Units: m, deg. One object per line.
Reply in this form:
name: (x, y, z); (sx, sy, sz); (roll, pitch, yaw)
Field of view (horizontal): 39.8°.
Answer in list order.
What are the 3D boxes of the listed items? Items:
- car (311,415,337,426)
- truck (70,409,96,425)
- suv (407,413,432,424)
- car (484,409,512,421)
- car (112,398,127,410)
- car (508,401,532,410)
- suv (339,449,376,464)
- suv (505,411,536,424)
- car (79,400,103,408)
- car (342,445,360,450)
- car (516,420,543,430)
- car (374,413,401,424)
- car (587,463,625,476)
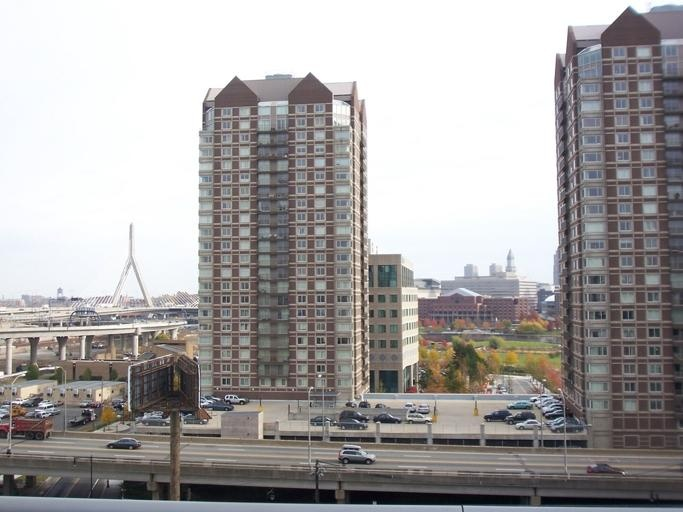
car: (-3.258, 28.949, 163.784); (3.351, 1.034, 2.183); (-2, -2, 13)
truck: (-47.226, 30.044, 174.301); (2.332, 1.710, 3.559); (3, 7, 17)
suv: (13.337, 28.593, 164.552); (3.980, 1.402, 1.810); (-3, -1, 6)
car: (27.343, 28.329, 166.826); (3.555, 1.290, 2.050); (1, -6, 5)
car: (-43.099, 29.224, 183.886); (1.647, 0.663, 2.434); (4, 19, 1)
car: (33.041, 27.818, 174.780); (3.260, 1.095, 1.778); (1, -7, 4)
suv: (2.451, 31.064, 144.959); (4.598, 1.631, 2.216); (-2, -4, 6)
suv: (30.977, 28.289, 164.449); (4.631, 1.826, 2.075); (0, -5, 0)
car: (-49.492, 29.421, 186.790); (3.725, 1.387, 6.005); (2, -8, -28)
car: (1.571, 29.717, 146.163); (2.613, 0.667, 1.990); (-3, -7, 7)
car: (31.320, 28.480, 158.381); (3.978, 1.490, 2.803); (-4, -7, 18)
car: (8.033, 28.648, 165.971); (3.869, 1.355, 1.818); (-2, -2, 9)
car: (39.294, 31.953, 140.398); (3.906, 0.941, 2.141); (-2, 4, 9)
